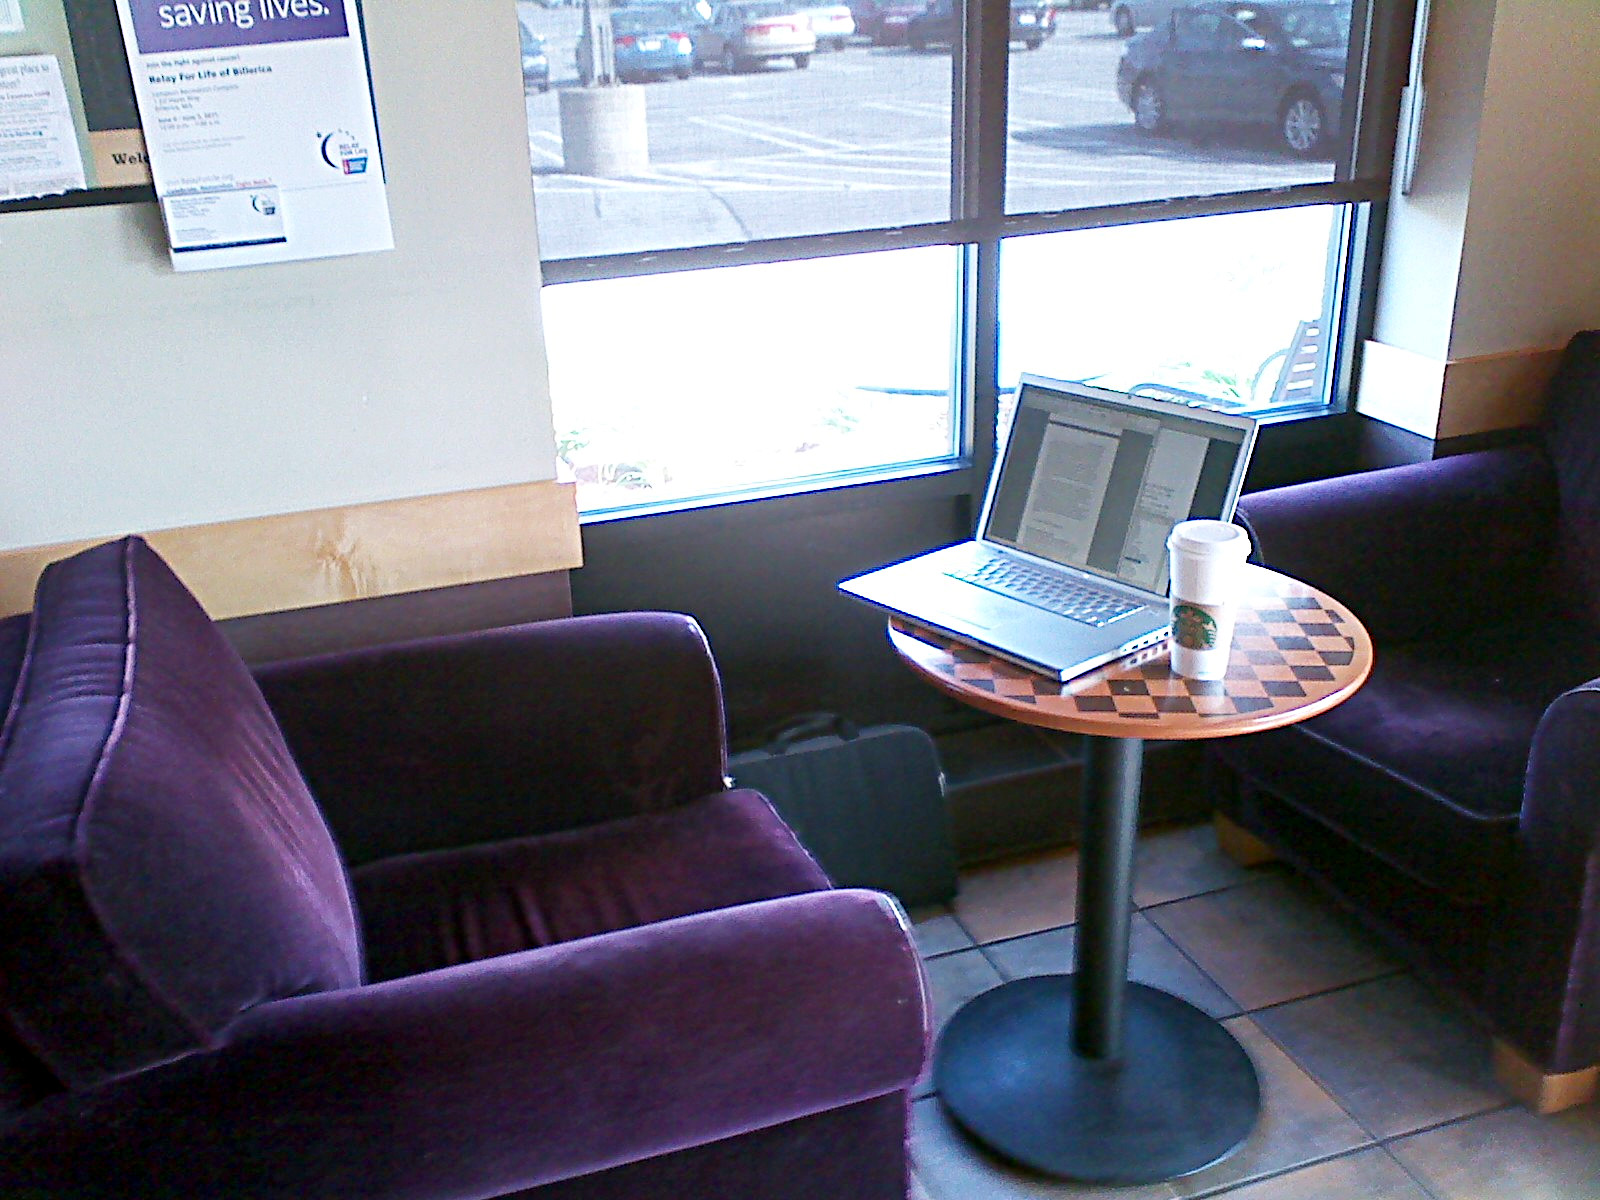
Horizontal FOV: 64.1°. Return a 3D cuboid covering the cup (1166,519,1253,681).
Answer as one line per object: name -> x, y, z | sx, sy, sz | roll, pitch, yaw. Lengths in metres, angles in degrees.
cup -> 0.642, -0.012, 2.050 | 0.112, 0.230, 0.189 | 6, 27, 18

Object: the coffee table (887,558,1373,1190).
coffee table -> 0.595, 0.478, 2.209 | 0.762, 0.816, 0.562 | -9, 26, -13

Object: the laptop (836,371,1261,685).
laptop -> 0.413, -0.143, 2.196 | 0.508, 0.326, 0.555 | -15, 24, -29
